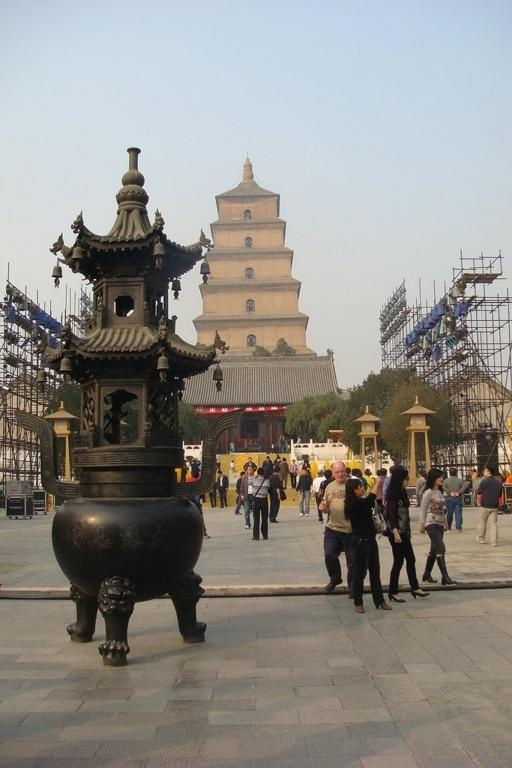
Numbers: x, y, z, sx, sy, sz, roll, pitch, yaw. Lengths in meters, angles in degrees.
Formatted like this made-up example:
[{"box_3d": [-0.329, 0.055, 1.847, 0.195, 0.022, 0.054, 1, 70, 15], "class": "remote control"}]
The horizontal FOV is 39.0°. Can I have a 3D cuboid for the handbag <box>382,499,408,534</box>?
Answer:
[{"box_3d": [1.625, 1.536, 8.376, 0.265, 0.441, 0.345, 8, -14, -35], "class": "handbag"}]

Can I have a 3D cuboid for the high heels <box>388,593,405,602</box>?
[{"box_3d": [1.638, 2.500, 8.461, 0.201, 0.102, 0.069, -8, -8, 38], "class": "high heels"}]

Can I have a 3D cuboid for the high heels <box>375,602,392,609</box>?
[{"box_3d": [1.426, 2.456, 8.021, 0.068, 0.086, 0.204, 2, -11, -39], "class": "high heels"}]

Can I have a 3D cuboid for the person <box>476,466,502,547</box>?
[{"box_3d": [4.463, 2.365, 13.901, 0.392, 1.522, 1.399, -2, -5, 16], "class": "person"}]

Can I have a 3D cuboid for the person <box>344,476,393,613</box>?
[{"box_3d": [1.253, 1.770, 8.072, 0.472, 1.425, 0.594, 0, -5, 0], "class": "person"}]
